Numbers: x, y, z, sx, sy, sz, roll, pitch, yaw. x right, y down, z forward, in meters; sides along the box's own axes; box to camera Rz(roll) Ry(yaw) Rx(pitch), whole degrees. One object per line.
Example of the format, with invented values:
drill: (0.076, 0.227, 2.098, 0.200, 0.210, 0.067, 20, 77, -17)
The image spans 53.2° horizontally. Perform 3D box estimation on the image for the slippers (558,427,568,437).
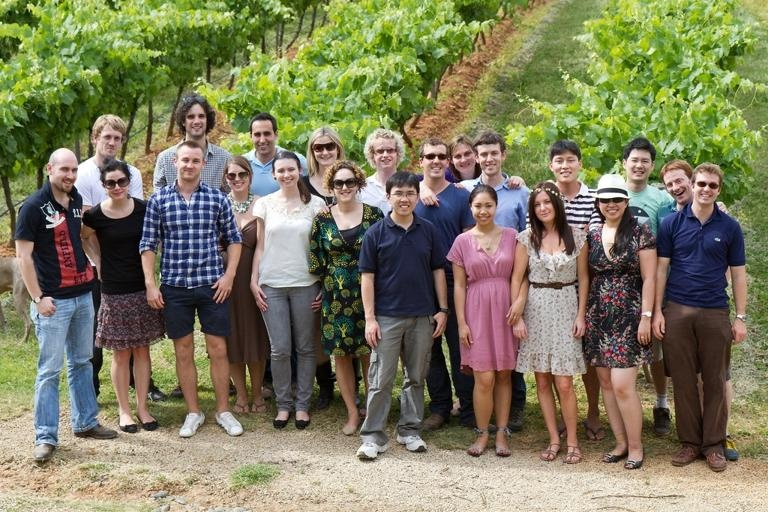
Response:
slippers: (1.788, 1.771, 7.697, 0.063, 0.136, 0.038, 11, 5, 14)

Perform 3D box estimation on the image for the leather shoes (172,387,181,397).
leather shoes: (-2.273, 1.476, 8.427, 0.113, 0.052, 0.135, 5, 34, 1)

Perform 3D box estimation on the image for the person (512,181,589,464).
person: (1.587, 0.630, 7.351, 0.744, 2.678, 0.237, -3, 1, 14)

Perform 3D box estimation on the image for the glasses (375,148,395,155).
glasses: (0.016, -1.066, 7.780, 0.187, 0.040, 0.043, -2, 1, -6)

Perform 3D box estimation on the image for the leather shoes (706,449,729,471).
leather shoes: (3.119, 1.919, 7.215, 0.180, 0.213, 0.136, -2, 1, 13)

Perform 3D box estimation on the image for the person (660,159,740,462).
person: (2.993, 0.575, 7.285, 0.832, 2.882, 0.366, -3, 1, 18)

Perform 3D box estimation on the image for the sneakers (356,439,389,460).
sneakers: (-0.111, 1.874, 7.384, 0.132, 0.132, 0.325, -5, -11, 33)

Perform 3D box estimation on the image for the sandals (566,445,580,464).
sandals: (1.795, 1.882, 7.311, 0.175, 0.108, 0.151, -2, 1, 6)

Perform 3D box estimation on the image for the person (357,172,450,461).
person: (0.144, 0.563, 7.407, 0.932, 2.050, 0.391, -3, 1, 4)

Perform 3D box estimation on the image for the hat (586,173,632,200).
hat: (2.177, -0.668, 7.359, 0.279, 0.261, 0.441, -2, 1, 16)

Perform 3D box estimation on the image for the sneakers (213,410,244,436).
sneakers: (-1.570, 1.684, 7.770, 0.339, 0.124, 0.156, 31, 44, 35)

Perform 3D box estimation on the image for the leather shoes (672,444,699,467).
leather shoes: (2.851, 1.900, 7.292, 0.317, 0.109, 0.147, 2, 3, -43)

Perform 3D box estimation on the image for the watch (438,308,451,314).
watch: (0.590, 0.535, 7.481, 0.081, 0.041, 0.076, 0, -5, 20)

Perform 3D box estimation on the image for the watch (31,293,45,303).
watch: (-3.229, 0.402, 7.187, 0.061, 0.095, 0.090, 35, -3, -17)

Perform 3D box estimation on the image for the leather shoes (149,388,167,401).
leather shoes: (-2.461, 1.515, 8.358, 0.192, 0.076, 0.103, -6, -3, 40)

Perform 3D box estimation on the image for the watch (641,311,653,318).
watch: (2.456, 0.544, 7.186, 0.108, 0.059, 0.051, -2, 1, -5)

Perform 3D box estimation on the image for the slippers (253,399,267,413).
slippers: (-1.324, 1.593, 8.140, 0.083, 0.086, 0.233, 4, 10, -6)

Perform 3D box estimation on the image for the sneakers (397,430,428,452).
sneakers: (0.280, 1.830, 7.499, 0.139, 0.104, 0.277, 3, -5, -37)

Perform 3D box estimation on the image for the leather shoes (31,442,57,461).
leather shoes: (-3.205, 1.849, 7.234, 0.177, 0.124, 0.343, 5, -5, -22)

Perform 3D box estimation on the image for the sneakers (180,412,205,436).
sneakers: (-1.940, 1.695, 7.701, 0.123, 0.123, 0.334, 4, 9, 10)

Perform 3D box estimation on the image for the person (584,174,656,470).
person: (2.227, 0.610, 7.255, 0.686, 2.770, 0.290, -3, 1, 17)

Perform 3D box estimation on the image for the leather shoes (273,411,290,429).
leather shoes: (-1.051, 1.674, 7.778, 0.096, 0.092, 0.253, 0, -4, 1)

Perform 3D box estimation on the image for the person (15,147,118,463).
person: (-3.087, 0.464, 7.367, 0.764, 2.872, 0.501, -4, 2, -37)

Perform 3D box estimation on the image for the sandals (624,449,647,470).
sandals: (2.348, 1.930, 7.224, 0.178, 0.087, 0.194, -2, 1, 16)
